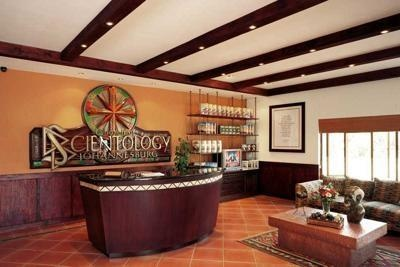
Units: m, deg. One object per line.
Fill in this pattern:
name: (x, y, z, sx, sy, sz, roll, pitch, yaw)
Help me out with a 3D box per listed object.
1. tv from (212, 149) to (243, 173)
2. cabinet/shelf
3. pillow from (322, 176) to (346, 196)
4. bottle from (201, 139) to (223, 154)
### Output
tv: (0.957, 0.810, 8.761, 1.159, 0.944, 0.658, 1, -3, -39)
cabinet/shelf: (0.874, 0.399, 8.565, 2.604, 3.519, 0.853, -3, 5, -34)
pillow: (3.224, 1.273, 6.193, 0.637, 0.579, 0.217, 0, -12, 15)
bottle: (0.337, 0.436, 8.183, 0.269, 0.439, 0.952, 3, 5, 41)
